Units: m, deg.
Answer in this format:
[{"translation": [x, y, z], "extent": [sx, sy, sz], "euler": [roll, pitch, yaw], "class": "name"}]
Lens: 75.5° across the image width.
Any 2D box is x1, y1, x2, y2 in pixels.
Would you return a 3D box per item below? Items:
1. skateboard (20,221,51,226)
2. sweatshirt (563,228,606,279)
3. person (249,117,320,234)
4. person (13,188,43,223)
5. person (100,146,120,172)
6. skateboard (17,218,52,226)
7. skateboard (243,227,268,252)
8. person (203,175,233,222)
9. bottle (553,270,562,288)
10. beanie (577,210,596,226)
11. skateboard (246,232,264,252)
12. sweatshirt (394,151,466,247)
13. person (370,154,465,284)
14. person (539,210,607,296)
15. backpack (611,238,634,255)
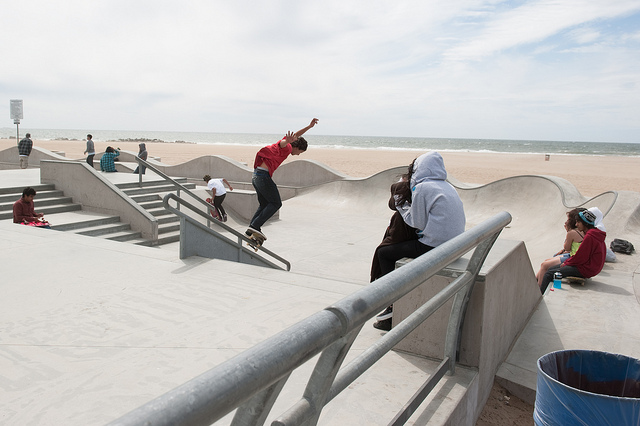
[{"translation": [-6.097, 0.221, 8.784], "extent": [0.326, 0.077, 0.206], "euler": [-2, -7, 12], "class": "skateboard"}, {"translation": [4.290, 0.645, 6.550], "extent": [0.732, 0.778, 0.325], "euler": [-1, 15, -14], "class": "sweatshirt"}, {"translation": [-0.870, -0.601, 8.303], "extent": [1.052, 2.192, 0.668], "euler": [1, 15, -6], "class": "person"}, {"translation": [-6.341, -0.158, 8.863], "extent": [0.500, 0.699, 0.488], "euler": [-6, 17, -32], "class": "person"}, {"translation": [-8.478, -2.159, 16.427], "extent": [0.542, 0.986, 0.998], "euler": [-5, 16, -26], "class": "person"}, {"translation": [-6.016, 0.219, 8.701], "extent": [0.474, 0.101, 0.760], "euler": [-9, 17, -42], "class": "skateboard"}, {"translation": [-1.345, 0.518, 8.331], "extent": [0.283, 0.352, 0.809], "euler": [33, -4, 3], "class": "skateboard"}, {"translation": [-3.355, -0.465, 13.588], "extent": [0.880, 1.438, 2.213], "euler": [-1, 14, -14], "class": "person"}, {"translation": [3.711, 1.039, 6.436], "extent": [0.105, 0.198, 0.209], "euler": [11, 16, 28], "class": "bottle"}, {"translation": [4.330, 0.077, 6.730], "extent": [0.256, 0.136, 0.197], "euler": [18, 13, 18], "class": "beanie"}, {"translation": [-1.244, 0.572, 8.277], "extent": [0.394, 0.242, 0.244], "euler": [38, 11, 21], "class": "skateboard"}, {"translation": [1.218, -0.152, 4.328], "extent": [0.618, 0.925, 0.541], "euler": [7, 15, 16], "class": "sweatshirt"}, {"translation": [1.050, 0.116, 4.336], "extent": [0.895, 1.428, 0.552], "euler": [4, 15, 3], "class": "person"}, {"translation": [4.146, 0.626, 6.677], "extent": [0.874, 1.323, 0.658], "euler": [8, 15, 19], "class": "person"}, {"translation": [6.171, 0.693, 8.479], "extent": [0.310, 0.149, 0.388], "euler": [-29, 40, -30], "class": "backpack"}]
